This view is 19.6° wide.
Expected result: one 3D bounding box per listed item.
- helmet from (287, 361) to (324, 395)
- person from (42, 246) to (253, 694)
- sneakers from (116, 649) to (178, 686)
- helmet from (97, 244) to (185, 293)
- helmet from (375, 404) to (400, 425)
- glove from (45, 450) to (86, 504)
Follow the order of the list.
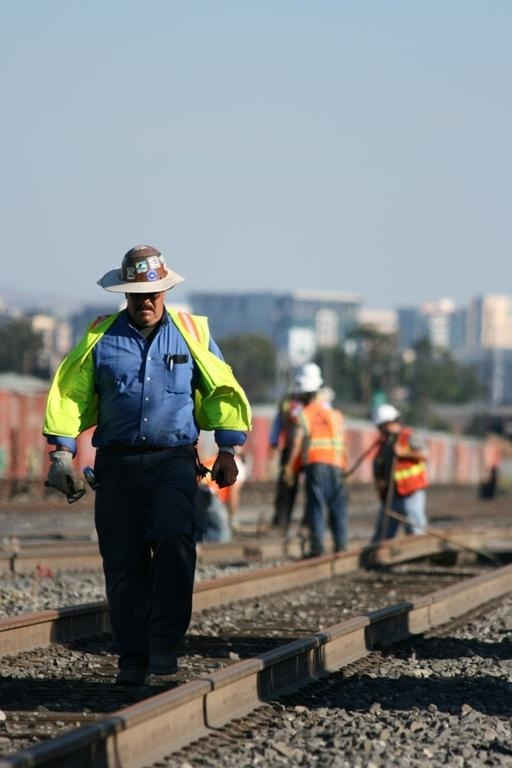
[{"bbox_3d":[0.440,-0.030,12.646,0.205,0.255,0.279,2,-12,-8],"label":"helmet"},{"bbox_3d":[-0.502,0.370,6.861,0.967,2.018,0.534,3,0,-8],"label":"person"},{"bbox_3d":[-0.472,1.304,6.903,0.231,0.157,0.359,3,0,27],"label":"sneakers"},{"bbox_3d":[-0.531,-0.547,6.935,0.409,0.188,0.453,-4,14,-19],"label":"helmet"},{"bbox_3d":[1.060,0.235,11.944,0.136,0.148,0.179,-26,16,0],"label":"helmet"},{"bbox_3d":[-0.863,0.405,6.677,0.189,0.223,0.100,1,10,-3],"label":"glove"}]
